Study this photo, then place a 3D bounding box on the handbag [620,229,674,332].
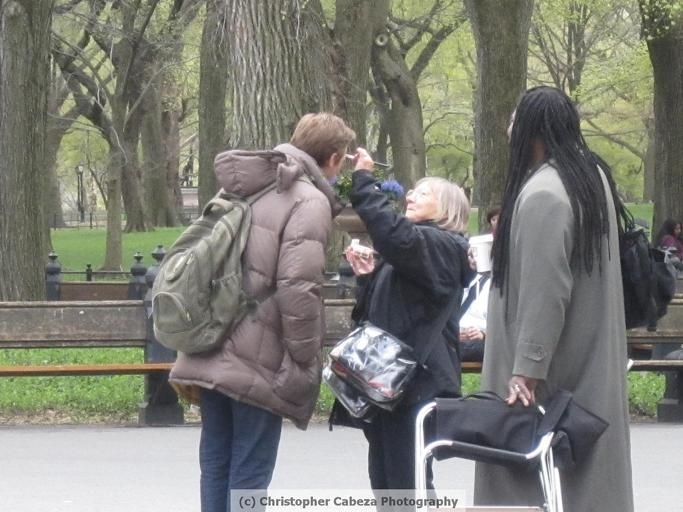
[{"bbox_3d":[4.663,0.397,27.381,0.918,1.617,1.515,-4,5,13],"label":"handbag"}]
